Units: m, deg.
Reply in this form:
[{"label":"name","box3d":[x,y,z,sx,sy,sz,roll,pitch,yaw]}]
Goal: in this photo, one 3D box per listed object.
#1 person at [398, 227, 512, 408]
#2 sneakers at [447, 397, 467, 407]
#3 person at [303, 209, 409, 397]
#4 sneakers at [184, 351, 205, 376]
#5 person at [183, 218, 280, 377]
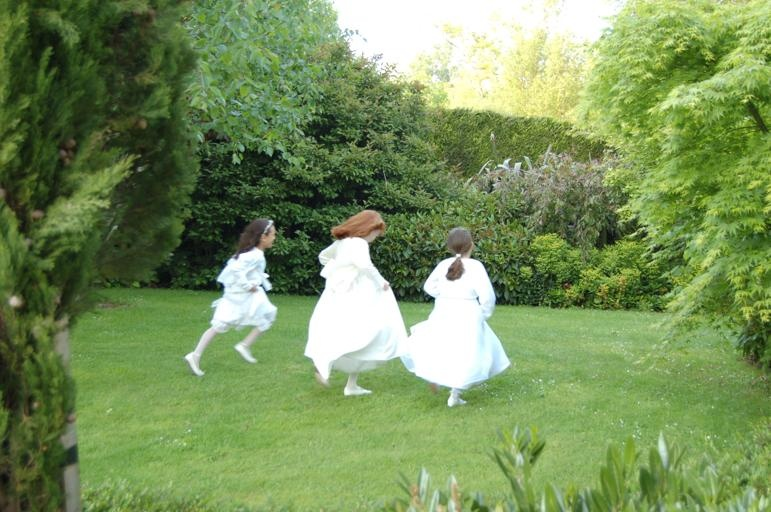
[{"label":"person","box3d":[0.760,0.665,6.988,0.996,1.827,0.837,15,19,42]},{"label":"sneakers","box3d":[0.732,1.511,6.729,0.238,0.101,0.081,-2,0,-1]},{"label":"person","box3d":[-0.313,0.494,7.015,1.055,1.869,0.724,2,14,0]},{"label":"sneakers","box3d":[-2.178,1.210,7.402,0.196,0.289,0.355,-3,15,-19]},{"label":"person","box3d":[-1.786,0.472,7.701,0.921,1.776,1.208,1,14,-3]}]
